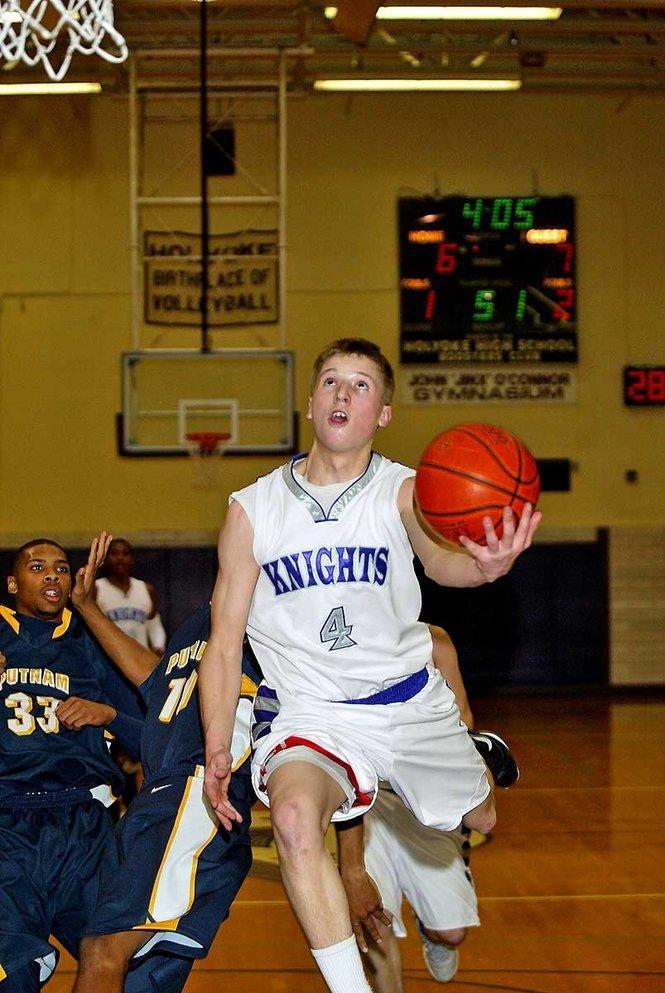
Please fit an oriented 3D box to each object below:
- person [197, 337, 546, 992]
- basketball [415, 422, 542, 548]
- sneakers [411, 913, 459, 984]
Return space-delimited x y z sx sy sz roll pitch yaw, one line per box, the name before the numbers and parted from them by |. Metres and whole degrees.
person | 0.040 0.249 2.003 0.604 1.184 0.615 1 -3 1
basketball | 0.232 -0.031 1.883 0.242 0.207 0.230 0 10 -1
sneakers | 0.269 1.190 2.685 0.079 0.080 0.213 -6 -14 0
